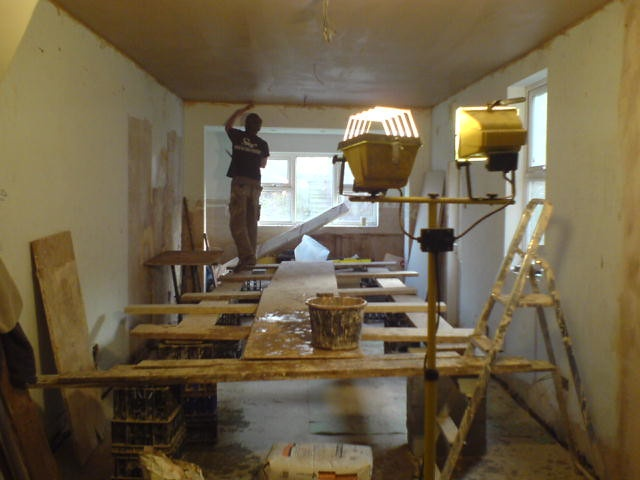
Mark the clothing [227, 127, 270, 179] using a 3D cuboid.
[{"bbox_3d":[-0.803,-0.918,6.237,0.476,0.501,0.256,9,-2,-22],"label":"clothing"}]

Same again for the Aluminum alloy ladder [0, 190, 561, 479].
[{"bbox_3d":[0.041,0.649,4.084,3.202,1.889,1.815,1,2,7],"label":"Aluminum alloy ladder"}]

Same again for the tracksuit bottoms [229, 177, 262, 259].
[{"bbox_3d":[-0.898,-0.226,6.265,0.268,0.929,0.390,-2,8,1],"label":"tracksuit bottoms"}]

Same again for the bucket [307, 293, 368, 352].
[{"bbox_3d":[0.109,0.549,3.695,0.398,0.309,0.394,2,3,0],"label":"bucket"}]

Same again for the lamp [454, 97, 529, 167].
[{"bbox_3d":[0.990,-0.600,3.233,0.348,0.449,0.251,-2,6,-7],"label":"lamp"}]

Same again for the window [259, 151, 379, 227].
[{"bbox_3d":[-0.111,-0.710,8.072,1.288,0.824,0.056,0,3,-1],"label":"window"}]

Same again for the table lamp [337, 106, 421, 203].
[{"bbox_3d":[0.350,-0.518,3.368,0.412,0.505,0.492,1,2,-4],"label":"table lamp"}]
